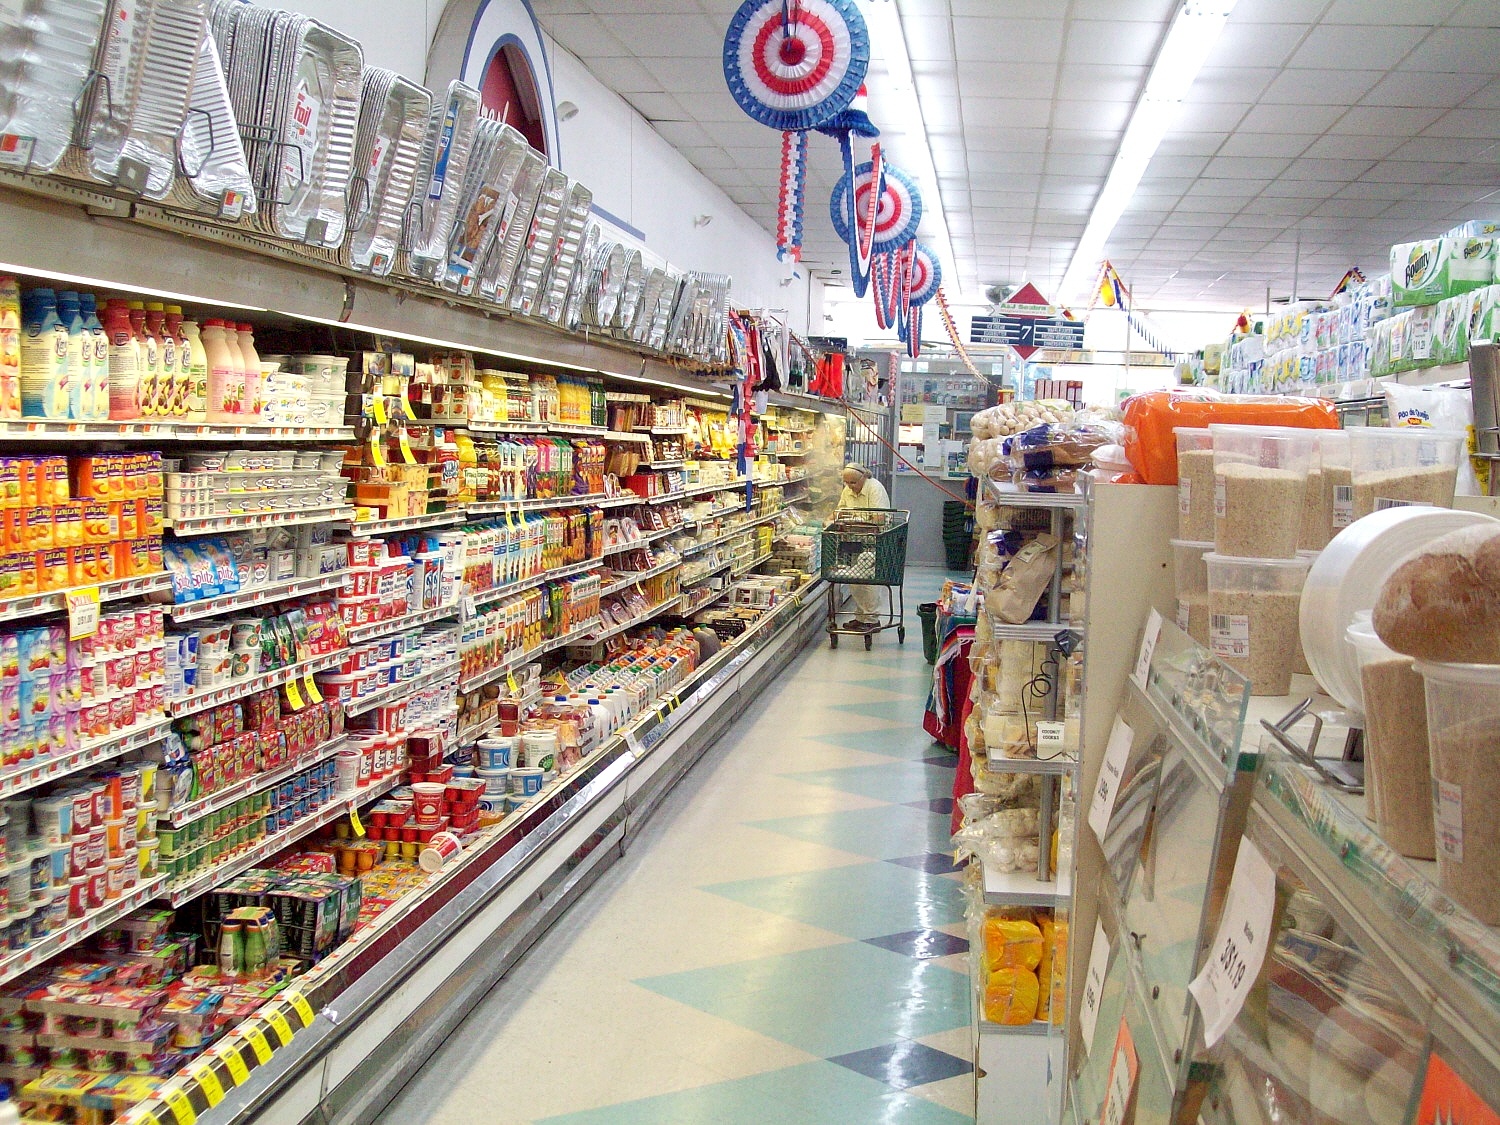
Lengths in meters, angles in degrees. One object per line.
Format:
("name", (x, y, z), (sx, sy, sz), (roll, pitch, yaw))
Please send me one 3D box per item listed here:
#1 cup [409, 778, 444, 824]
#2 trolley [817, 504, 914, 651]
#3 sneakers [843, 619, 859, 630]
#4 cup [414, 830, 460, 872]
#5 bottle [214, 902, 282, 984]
("cup", (-1.238, 0.924, 3.735), (0.118, 0.130, 0.120), (3, 7, 0))
("trolley", (1.124, 0.169, 10.093), (0.821, 1.397, 1.193), (4, -14, -11))
("sneakers", (1.084, 0.662, 10.284), (0.140, 0.100, 0.078), (2, -3, -6))
("cup", (-1.143, 1.094, 3.570), (0.118, 0.131, 0.101), (31, 32, 12))
("bottle", (-1.490, 1.127, 2.880), (0.163, 0.155, 0.143), (5, 7, 13))
